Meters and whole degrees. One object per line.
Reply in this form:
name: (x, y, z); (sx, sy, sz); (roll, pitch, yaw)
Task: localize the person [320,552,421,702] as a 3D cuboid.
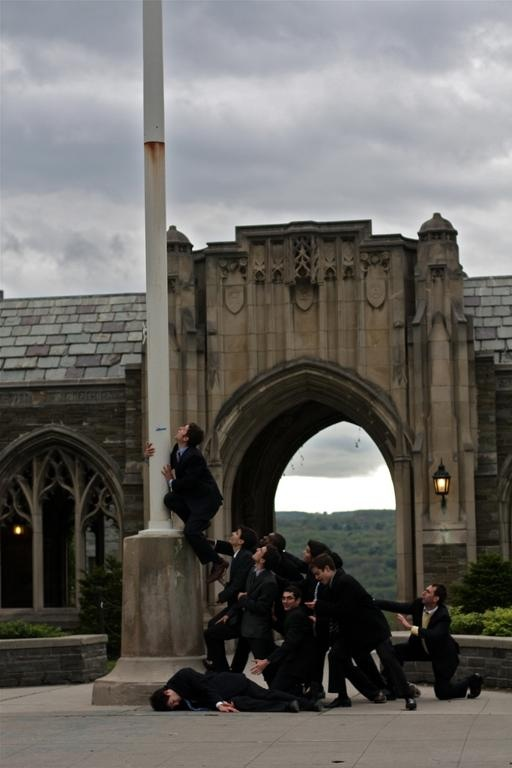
person: (0.878, 2.020, 12.797); (0.765, 1.242, 0.610); (-3, -5, 4)

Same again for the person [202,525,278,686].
person: (-0.147, 1.945, 13.302); (0.777, 1.423, 0.408); (7, 17, 29)

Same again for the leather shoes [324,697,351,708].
leather shoes: (0.654, 2.596, 12.612); (0.226, 0.090, 0.083); (-1, -7, -2)

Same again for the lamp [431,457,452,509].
lamp: (2.369, 1.300, 20.017); (0.235, 0.619, 0.360); (-3, -5, 7)

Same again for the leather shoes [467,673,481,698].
leather shoes: (1.865, 2.603, 13.344); (0.100, 0.238, 0.085); (1, 11, -2)

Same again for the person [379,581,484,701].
person: (1.446, 2.223, 13.285); (0.969, 0.989, 0.603); (6, 3, 7)

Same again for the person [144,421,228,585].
person: (-0.564, 0.939, 13.249); (0.479, 1.199, 0.368); (-2, -5, 2)

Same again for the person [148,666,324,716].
person: (-0.235, 2.466, 12.206); (1.019, 0.306, 0.511); (-3, -31, 12)
